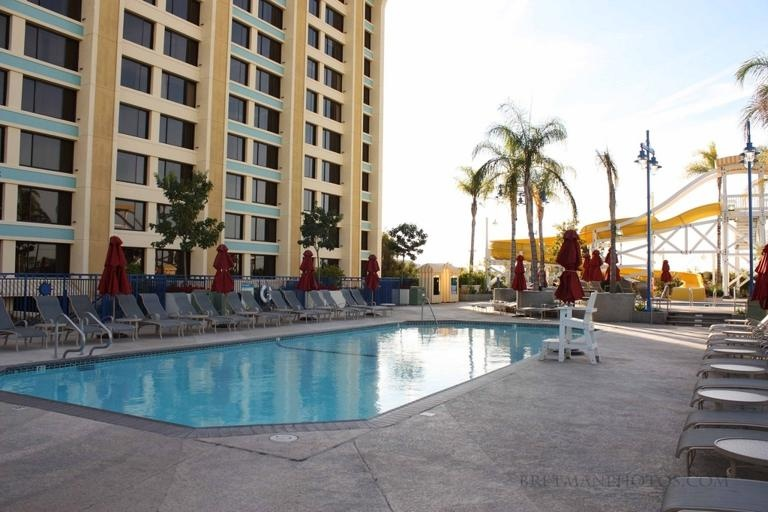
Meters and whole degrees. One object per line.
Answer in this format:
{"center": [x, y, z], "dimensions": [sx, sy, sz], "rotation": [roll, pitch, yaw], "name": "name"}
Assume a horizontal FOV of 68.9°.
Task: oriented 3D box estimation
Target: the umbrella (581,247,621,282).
{"center": [11.741, 0.508, 30.348], "dimensions": [2.127, 2.219, 2.220], "rotation": [-2, 1, 10], "name": "umbrella"}

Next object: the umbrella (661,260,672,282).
{"center": [16.939, 0.942, 33.742], "dimensions": [0.411, 1.055, 1.345], "rotation": [-1, 0, 23], "name": "umbrella"}

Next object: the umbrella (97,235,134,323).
{"center": [-8.414, 0.715, 17.540], "dimensions": [0.890, 2.836, 2.074], "rotation": [-2, 0, -28], "name": "umbrella"}

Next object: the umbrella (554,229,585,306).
{"center": [5.113, 0.295, 15.549], "dimensions": [0.696, 1.675, 1.116], "rotation": [-1, 0, 18], "name": "umbrella"}

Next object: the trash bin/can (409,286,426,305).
{"center": [2.125, 2.511, 34.797], "dimensions": [0.962, 1.498, 1.047], "rotation": [-1, 3, -19], "name": "trash bin/can"}
